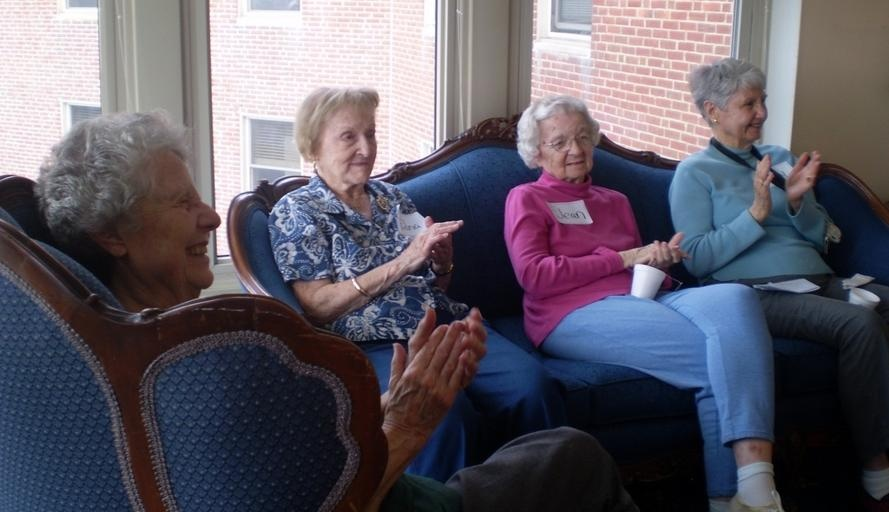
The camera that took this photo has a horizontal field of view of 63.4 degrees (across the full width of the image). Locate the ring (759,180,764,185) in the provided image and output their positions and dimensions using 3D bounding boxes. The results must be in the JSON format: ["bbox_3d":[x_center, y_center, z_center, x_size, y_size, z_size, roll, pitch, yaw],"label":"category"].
[{"bbox_3d":[1.466,-0.353,3.352,0.023,0.022,0.005,2,-3,8],"label":"ring"}]

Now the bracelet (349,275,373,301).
[{"bbox_3d":[-0.336,0.123,2.848,0.086,0.032,0.073,28,6,-24],"label":"bracelet"}]
